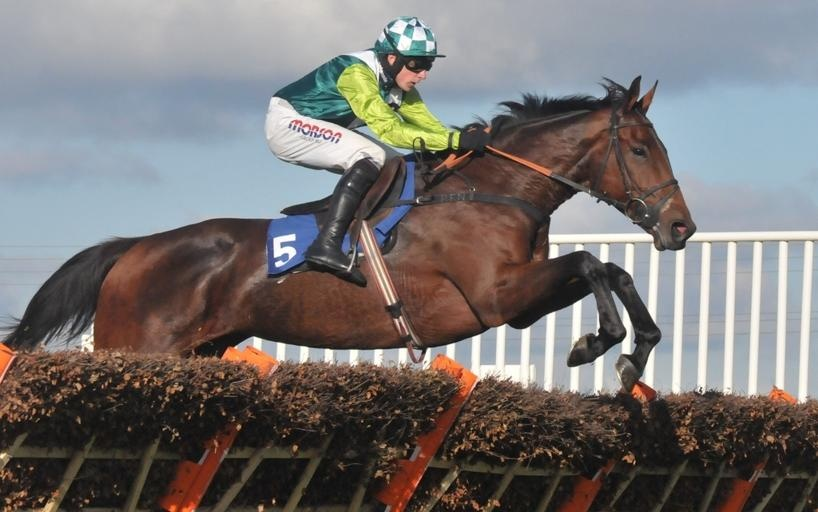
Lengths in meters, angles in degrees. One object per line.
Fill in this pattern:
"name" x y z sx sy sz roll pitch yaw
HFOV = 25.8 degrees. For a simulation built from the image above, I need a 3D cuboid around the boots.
"boots" -0.391 -0.244 11.659 0.433 0.697 0.207 12 -5 5
